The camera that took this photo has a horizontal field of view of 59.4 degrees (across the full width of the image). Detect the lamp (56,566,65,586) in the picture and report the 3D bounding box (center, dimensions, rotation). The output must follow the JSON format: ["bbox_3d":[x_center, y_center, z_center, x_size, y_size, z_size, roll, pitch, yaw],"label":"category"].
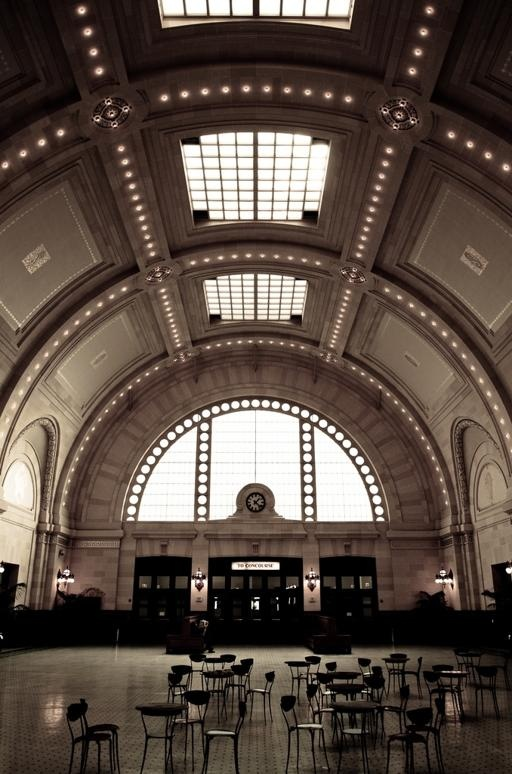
[{"bbox_3d":[-10.203,9.965,23.526,0.481,0.915,0.876,6,-27,-11],"label":"lamp"}]
